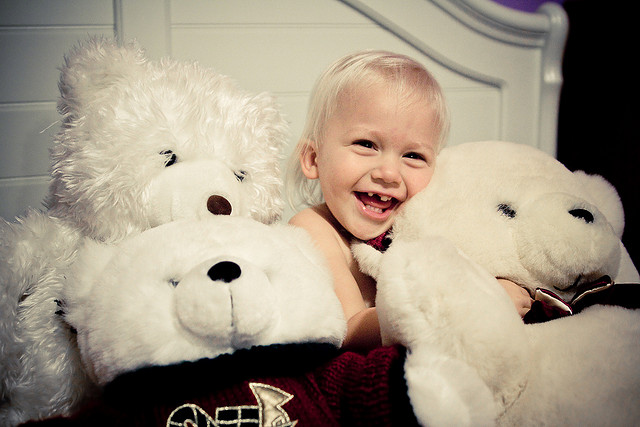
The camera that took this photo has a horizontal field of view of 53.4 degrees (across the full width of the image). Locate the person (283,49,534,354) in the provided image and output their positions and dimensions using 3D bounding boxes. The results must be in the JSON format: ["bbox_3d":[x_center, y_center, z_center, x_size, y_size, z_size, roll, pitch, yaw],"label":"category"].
[{"bbox_3d":[0.213,-0.033,2.066,0.817,0.883,0.704,8,5,17],"label":"person"}]

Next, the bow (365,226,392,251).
[{"bbox_3d":[0.172,0.083,1.856,0.066,0.064,0.067,-8,36,4],"label":"bow"}]

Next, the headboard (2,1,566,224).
[{"bbox_3d":[-0.188,-0.333,1.993,0.840,0.607,0.039,-2,8,-6],"label":"headboard"}]
